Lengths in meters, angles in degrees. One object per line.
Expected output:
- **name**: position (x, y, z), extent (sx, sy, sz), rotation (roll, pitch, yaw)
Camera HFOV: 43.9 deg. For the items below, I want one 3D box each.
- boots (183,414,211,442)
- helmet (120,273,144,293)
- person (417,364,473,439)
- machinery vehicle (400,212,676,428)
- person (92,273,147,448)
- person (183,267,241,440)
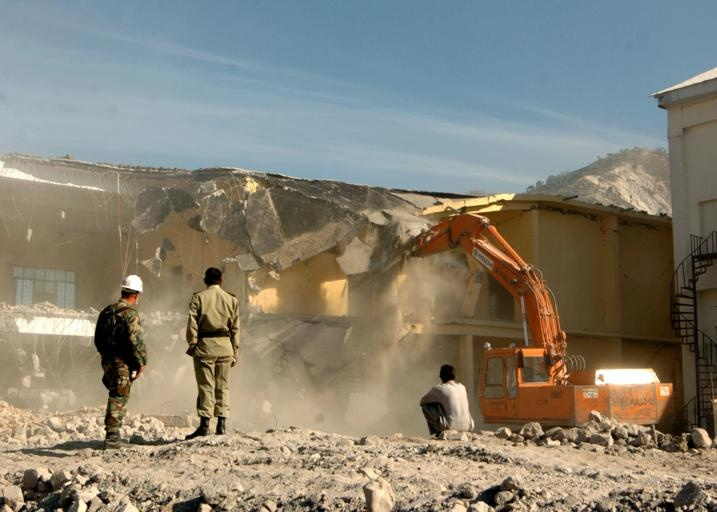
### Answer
- **boots**: position (-2.340, 2.605, 13.364), extent (0.491, 0.502, 0.233), rotation (3, -7, 1)
- **helmet**: position (-3.382, 0.433, 13.473), extent (0.377, 0.324, 0.506), rotation (4, -13, -5)
- **person**: position (1.484, 2.624, 15.130), extent (0.898, 1.466, 0.968), rotation (3, 6, -3)
- **machinery vehicle**: position (3.274, 1.366, 17.588), extent (5.235, 3.998, 2.084), rotation (2, -8, 33)
- **person**: position (-3.537, 1.575, 13.212), extent (0.708, 2.498, 0.455), rotation (0, 3, -19)
- **person**: position (-2.188, 1.467, 13.350), extent (0.831, 2.502, 0.596), rotation (0, 3, -21)
